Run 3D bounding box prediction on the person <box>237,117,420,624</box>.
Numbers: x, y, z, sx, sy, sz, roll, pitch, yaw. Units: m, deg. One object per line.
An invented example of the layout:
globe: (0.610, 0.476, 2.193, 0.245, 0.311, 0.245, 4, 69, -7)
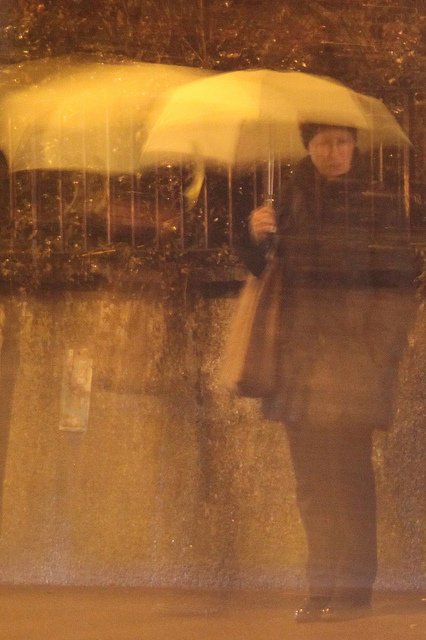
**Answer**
person: (0.440, 0.195, 4.215, 0.680, 1.903, 0.315, 2, 9, 0)
